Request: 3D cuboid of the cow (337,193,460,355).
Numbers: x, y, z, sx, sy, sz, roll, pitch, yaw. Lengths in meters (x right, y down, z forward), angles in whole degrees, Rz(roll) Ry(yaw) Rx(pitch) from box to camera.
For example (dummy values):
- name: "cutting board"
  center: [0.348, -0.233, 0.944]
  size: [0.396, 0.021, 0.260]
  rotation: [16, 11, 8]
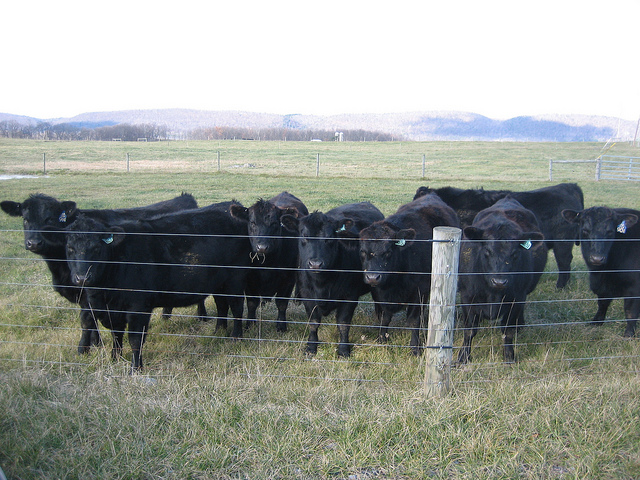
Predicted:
- name: "cow"
  center: [1.510, 0.510, 12.573]
  size: [1.233, 2.356, 4.250]
  rotation: [0, 10, 20]

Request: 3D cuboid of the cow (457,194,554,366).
- name: "cow"
  center: [2.906, 0.257, 11.852]
  size: [1.065, 1.910, 3.631]
  rotation: [3, 14, 16]

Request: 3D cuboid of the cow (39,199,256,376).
- name: "cow"
  center: [-2.356, 0.658, 11.063]
  size: [2.970, 2.218, 1.128]
  rotation: [-7, 9, -44]

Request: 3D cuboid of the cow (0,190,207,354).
- name: "cow"
  center: [-2.841, 0.222, 12.372]
  size: [4.189, 2.773, 1.662]
  rotation: [-2, 2, -26]
